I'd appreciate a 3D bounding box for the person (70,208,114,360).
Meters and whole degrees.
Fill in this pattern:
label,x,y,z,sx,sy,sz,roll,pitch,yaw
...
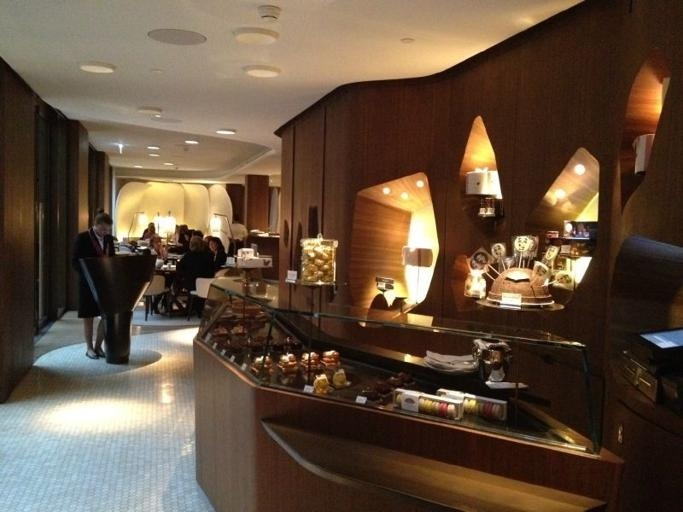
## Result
label,x,y,z,sx,sy,sz,roll,pitch,yaw
person,-2.906,0.345,6.219,0.439,1.742,0.869,-3,9,-26

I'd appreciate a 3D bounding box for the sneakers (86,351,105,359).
label,x,y,z,sx,sy,sz,roll,pitch,yaw
sneakers,-2.964,1.168,6.332,0.233,0.066,0.083,-6,-7,41

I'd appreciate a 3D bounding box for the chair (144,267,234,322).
label,x,y,z,sx,sy,sz,roll,pitch,yaw
chair,-2.177,0.496,7.328,0.856,0.367,0.269,-3,15,-5
